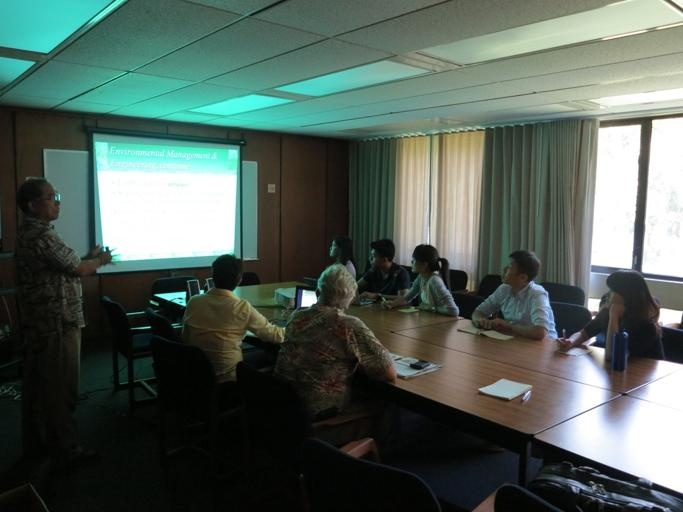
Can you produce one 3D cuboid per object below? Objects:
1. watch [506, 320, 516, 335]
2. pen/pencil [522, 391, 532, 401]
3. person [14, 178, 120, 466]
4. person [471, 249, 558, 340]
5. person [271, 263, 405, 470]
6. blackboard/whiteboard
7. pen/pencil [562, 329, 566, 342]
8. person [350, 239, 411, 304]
[{"bbox_3d":[1.330,0.558,4.075,0.026,0.077,0.079,9,-15,-27],"label":"watch"},{"bbox_3d":[1.062,0.785,2.973,0.029,0.021,0.114,15,19,35],"label":"pen/pencil"},{"bbox_3d":[-2.081,0.462,3.802,0.541,2.022,0.570,4,13,17],"label":"person"},{"bbox_3d":[1.453,0.361,4.237,0.628,0.783,0.786,-1,4,-23],"label":"person"},{"bbox_3d":[-0.062,0.794,3.380,0.704,1.442,0.821,20,23,35],"label":"person"},{"bbox_3d":[-2.554,-0.708,7.801,0.047,1.962,3.235,-2,5,26],"label":"blackboard/whiteboard"},{"bbox_3d":[1.713,0.605,4.004,0.014,0.010,0.088,23,46,6],"label":"pen/pencil"},{"bbox_3d":[0.433,0.204,5.621,0.567,0.874,0.724,3,-1,-22],"label":"person"}]
